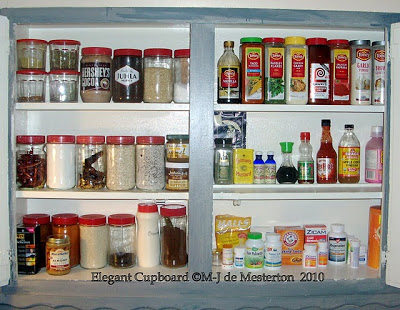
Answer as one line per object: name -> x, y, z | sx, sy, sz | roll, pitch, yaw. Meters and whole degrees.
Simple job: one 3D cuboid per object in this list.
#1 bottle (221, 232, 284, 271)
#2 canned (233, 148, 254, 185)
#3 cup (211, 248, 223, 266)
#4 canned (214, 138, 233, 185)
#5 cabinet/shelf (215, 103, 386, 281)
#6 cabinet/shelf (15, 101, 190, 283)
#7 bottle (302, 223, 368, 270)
bottle -> 0.269, 0.436, 2.022 | 0.243, 0.164, 0.087 | -3, 5, -7
canned -> 0.192, 0.051, 1.981 | 0.098, 0.160, 0.051 | -2, 5, 3
cup -> 0.077, 0.470, 2.017 | 0.044, 0.068, 0.037 | -3, 5, 1
canned -> 0.104, 0.026, 1.975 | 0.089, 0.204, 0.059 | -3, 5, 2
cabinet/shelf -> 0.443, 0.165, 2.044 | 0.905, 0.650, 0.276 | 0, 0, -2
cabinet/shelf -> -0.445, 0.173, 1.986 | 0.918, 0.742, 0.283 | 0, -3, -4
bottle -> 0.571, 0.416, 1.984 | 0.303, 0.192, 0.155 | 1, -2, 3
